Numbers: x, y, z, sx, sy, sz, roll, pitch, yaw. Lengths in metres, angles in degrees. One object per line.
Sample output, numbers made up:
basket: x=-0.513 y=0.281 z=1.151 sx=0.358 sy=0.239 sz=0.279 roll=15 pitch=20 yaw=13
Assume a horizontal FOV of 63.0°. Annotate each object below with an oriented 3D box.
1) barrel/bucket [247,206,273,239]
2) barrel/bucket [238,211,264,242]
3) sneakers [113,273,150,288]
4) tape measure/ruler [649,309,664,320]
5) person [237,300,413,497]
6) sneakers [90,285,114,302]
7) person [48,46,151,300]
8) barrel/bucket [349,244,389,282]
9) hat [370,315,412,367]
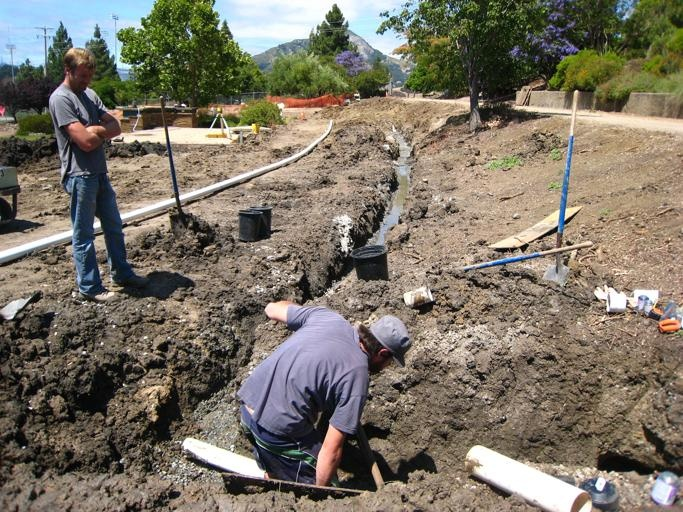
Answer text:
barrel/bucket: x=-1.315 y=-0.562 z=9.451 sx=0.464 sy=0.646 sz=0.473 roll=0 pitch=10 yaw=0
barrel/bucket: x=-1.493 y=-0.509 z=9.157 sx=0.419 sy=0.470 sz=0.433 roll=3 pitch=12 yaw=-1
sneakers: x=-2.736 y=0.330 z=7.342 sx=0.455 sy=0.208 sz=0.174 roll=-4 pitch=23 yaw=-12
tape measure/ruler: x=3.641 y=0.680 z=6.456 sx=0.112 sy=0.121 sz=0.160 roll=0 pitch=8 yaw=19
person: x=-0.320 y=1.497 z=5.597 sx=1.221 sy=1.730 sz=0.817 roll=9 pitch=20 yaw=33
sneakers: x=-2.972 y=0.472 z=6.958 sx=0.265 sy=0.126 sz=0.143 roll=-12 pitch=25 yaw=-10
person: x=-3.027 y=-0.941 z=6.743 sx=0.657 sy=3.007 sz=0.778 roll=8 pitch=20 yaw=32
barrel/bucket: x=0.403 y=0.065 z=8.284 sx=0.488 sy=0.403 sz=0.499 roll=-6 pitch=17 yaw=2
hat: x=0.463 y=0.837 z=5.448 sx=0.377 sy=0.464 sz=0.226 roll=-1 pitch=17 yaw=4
